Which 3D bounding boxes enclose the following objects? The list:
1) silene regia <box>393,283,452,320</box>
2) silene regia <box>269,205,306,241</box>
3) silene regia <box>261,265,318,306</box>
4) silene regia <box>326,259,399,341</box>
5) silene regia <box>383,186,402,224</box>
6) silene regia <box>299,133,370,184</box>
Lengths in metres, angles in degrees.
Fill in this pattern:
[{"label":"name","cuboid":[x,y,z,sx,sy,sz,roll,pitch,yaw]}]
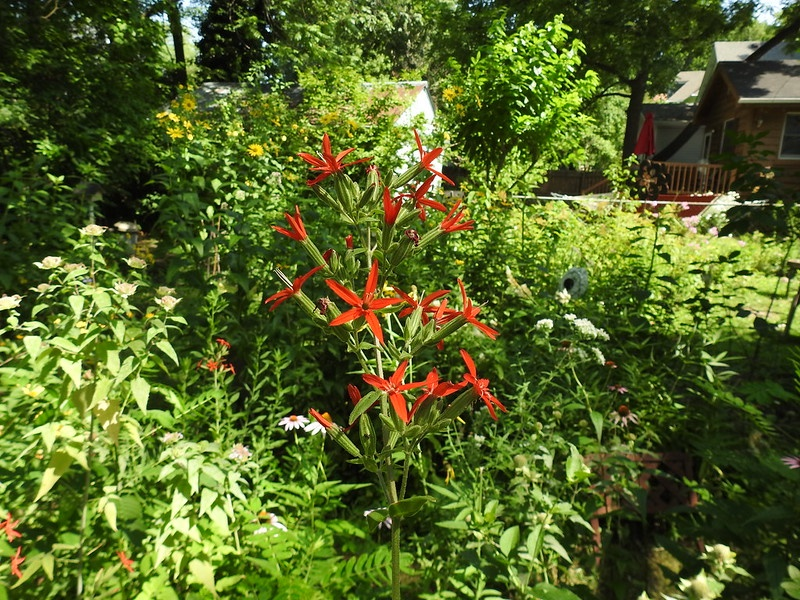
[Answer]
[{"label":"silene regia","cuboid":[0.081,0.004,2.818,0.164,0.056,0.168,12,34,37]},{"label":"silene regia","cuboid":[-0.474,-0.340,2.840,0.169,0.157,0.105,-14,-9,19]},{"label":"silene regia","cuboid":[-0.486,-0.059,2.835,0.219,0.105,0.234,-34,20,0]},{"label":"silene regia","cuboid":[-0.160,0.006,2.712,0.326,0.359,0.280,4,25,-11]},{"label":"silene regia","cuboid":[-0.036,-0.428,2.803,0.079,0.159,0.149,11,24,4]},{"label":"silene regia","cuboid":[-0.296,-0.624,2.907,0.267,0.147,0.302,3,19,29]}]
